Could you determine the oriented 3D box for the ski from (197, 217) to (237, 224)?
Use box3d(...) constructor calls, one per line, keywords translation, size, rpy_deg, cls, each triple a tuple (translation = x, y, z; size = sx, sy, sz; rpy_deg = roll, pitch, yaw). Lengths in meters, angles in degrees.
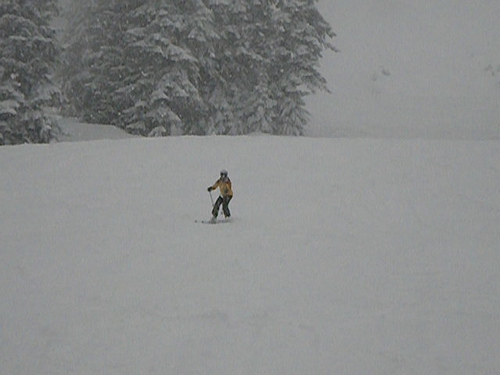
box3d(translation=(-1.109, 1.357, 46.057), size=(0.943, 0.157, 0.193), rpy_deg=(-5, 48, -23), cls="ski")
